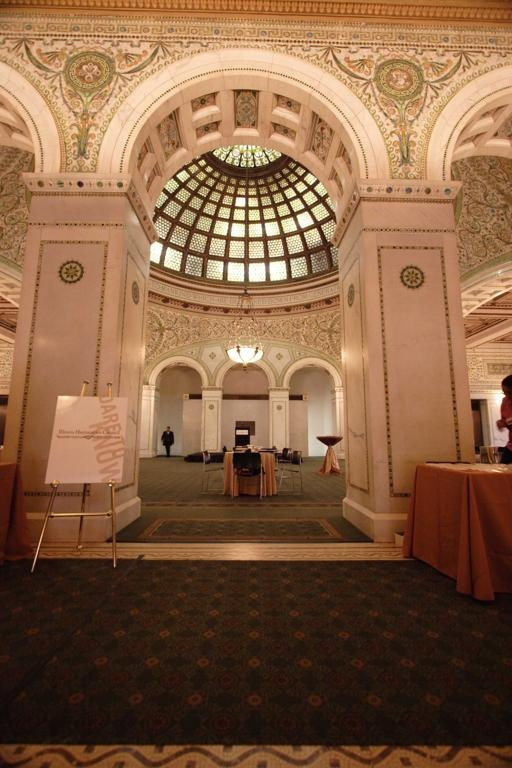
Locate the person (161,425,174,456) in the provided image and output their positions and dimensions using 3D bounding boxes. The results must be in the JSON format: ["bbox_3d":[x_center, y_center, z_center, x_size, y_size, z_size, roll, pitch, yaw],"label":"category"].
[{"bbox_3d":[-3.143,2.118,16.747,0.310,1.104,1.508,2,-6,-9],"label":"person"}]
